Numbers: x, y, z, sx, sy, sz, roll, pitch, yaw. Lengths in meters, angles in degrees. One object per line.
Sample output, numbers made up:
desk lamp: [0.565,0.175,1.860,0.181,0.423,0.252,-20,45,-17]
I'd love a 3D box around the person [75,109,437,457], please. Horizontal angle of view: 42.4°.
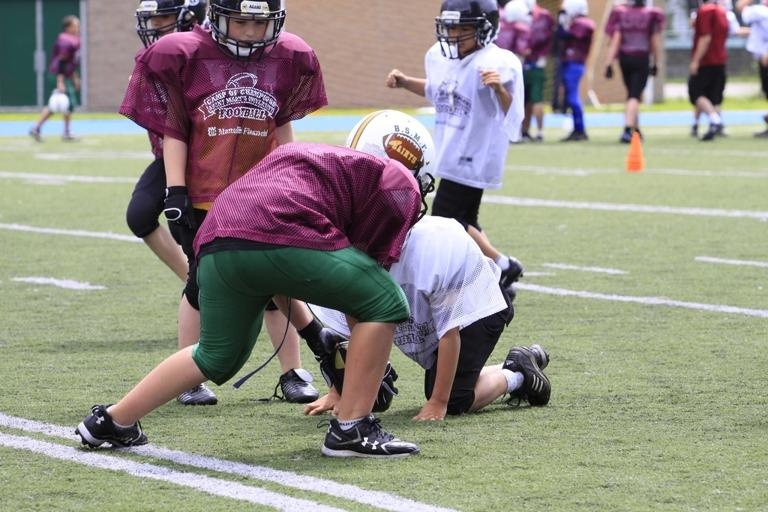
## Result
person: [-0.493,0.120,4.146,1.675,1.386,0.768,7,-14,-37]

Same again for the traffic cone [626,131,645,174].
traffic cone: [2.759,-1.096,11.033,0.206,0.462,0.195,1,-13,10]

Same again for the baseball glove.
baseball glove: [-0.123,0.531,4.613,0.282,0.372,0.152,27,41,18]

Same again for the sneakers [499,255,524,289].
sneakers: [0.795,0.117,6.385,0.103,0.227,0.169,30,27,16]

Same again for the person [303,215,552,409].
person: [0.292,0.347,5.021,1.205,1.085,0.761,2,-8,-39]

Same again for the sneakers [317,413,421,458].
sneakers: [-0.084,0.762,4.193,0.447,0.183,0.153,2,-5,-3]

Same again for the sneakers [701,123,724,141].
sneakers: [4.297,-1.607,13.161,0.161,0.199,0.457,-6,-9,8]

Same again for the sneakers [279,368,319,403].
sneakers: [-0.436,0.629,4.929,0.153,0.126,0.345,-1,14,-24]

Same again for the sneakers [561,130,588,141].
sneakers: [2.856,-1.804,15.018,0.460,0.180,0.151,1,5,3]

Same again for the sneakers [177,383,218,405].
sneakers: [-0.928,0.689,4.852,0.255,0.116,0.122,-15,-19,36]
